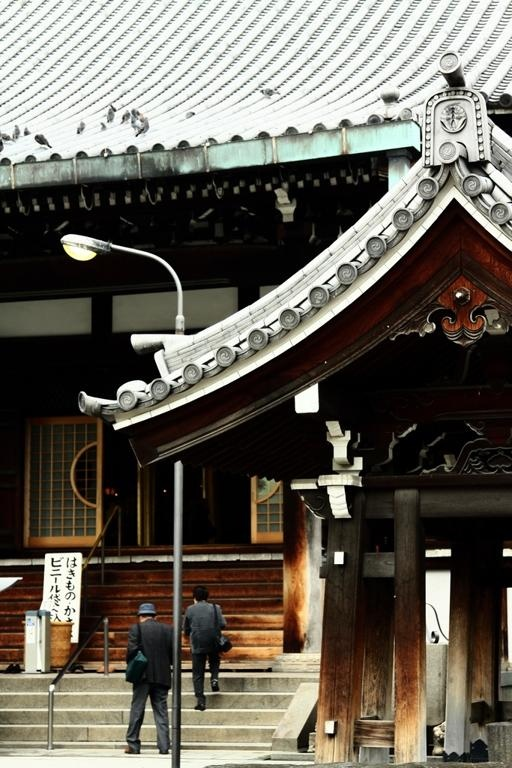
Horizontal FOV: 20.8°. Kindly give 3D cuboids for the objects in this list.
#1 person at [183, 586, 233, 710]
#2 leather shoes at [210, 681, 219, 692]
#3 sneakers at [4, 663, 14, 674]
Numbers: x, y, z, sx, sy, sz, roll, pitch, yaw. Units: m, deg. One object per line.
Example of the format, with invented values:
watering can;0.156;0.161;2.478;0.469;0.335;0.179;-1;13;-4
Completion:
person;-0.480;2.606;13.802;0.470;1.204;0.653;1;-9;-2
leather shoes;-0.398;3.013;13.918;0.047;0.065;0.143;-1;-33;2
sneakers;-2.730;3.176;15.538;0.055;0.087;0.203;6;4;-1
